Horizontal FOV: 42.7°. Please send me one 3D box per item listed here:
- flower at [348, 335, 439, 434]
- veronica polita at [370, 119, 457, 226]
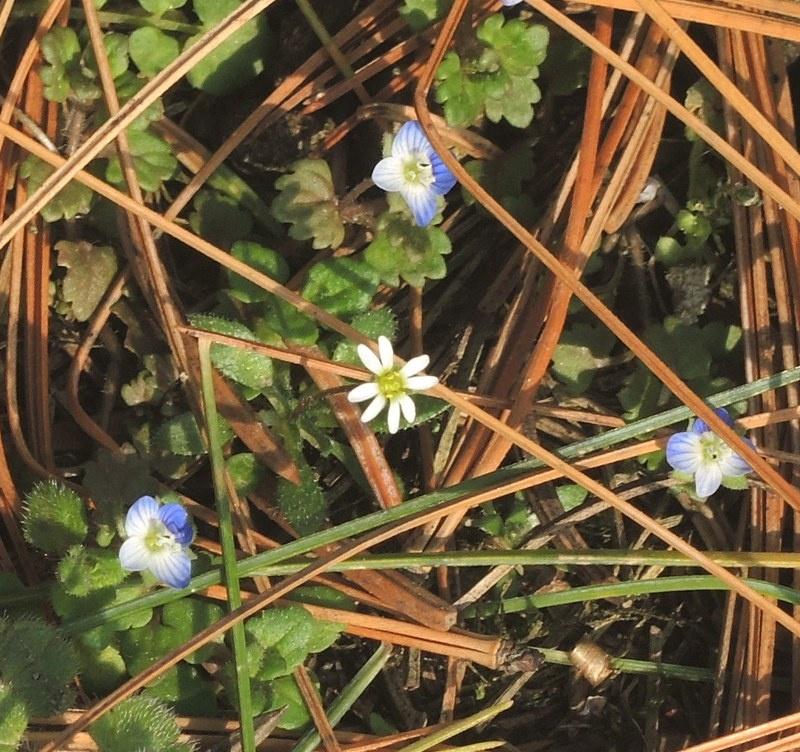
[{"bbox_3d":[-0.020,0.018,2.341,0.309,0.075,0.260,-13,20,-11],"label":"flower"},{"bbox_3d":[0.040,-0.499,2.493,0.289,0.236,0.094,-7,20,-9],"label":"veronica polita"}]
